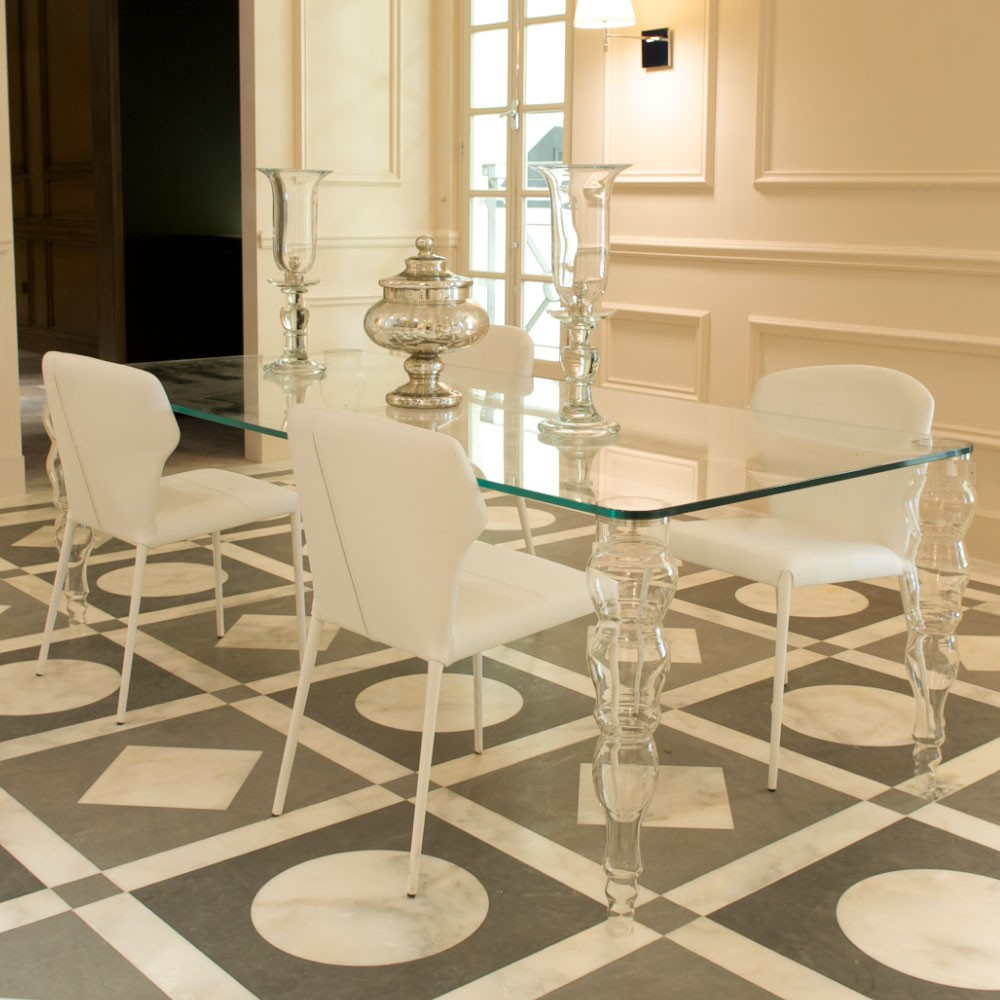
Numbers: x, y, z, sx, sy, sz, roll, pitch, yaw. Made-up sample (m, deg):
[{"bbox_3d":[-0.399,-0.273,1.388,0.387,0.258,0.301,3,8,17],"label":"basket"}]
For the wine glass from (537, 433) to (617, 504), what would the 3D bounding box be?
[{"bbox_3d":[0.150,-0.066,1.759,0.141,0.201,0.129,0,14,8],"label":"wine glass"}]
